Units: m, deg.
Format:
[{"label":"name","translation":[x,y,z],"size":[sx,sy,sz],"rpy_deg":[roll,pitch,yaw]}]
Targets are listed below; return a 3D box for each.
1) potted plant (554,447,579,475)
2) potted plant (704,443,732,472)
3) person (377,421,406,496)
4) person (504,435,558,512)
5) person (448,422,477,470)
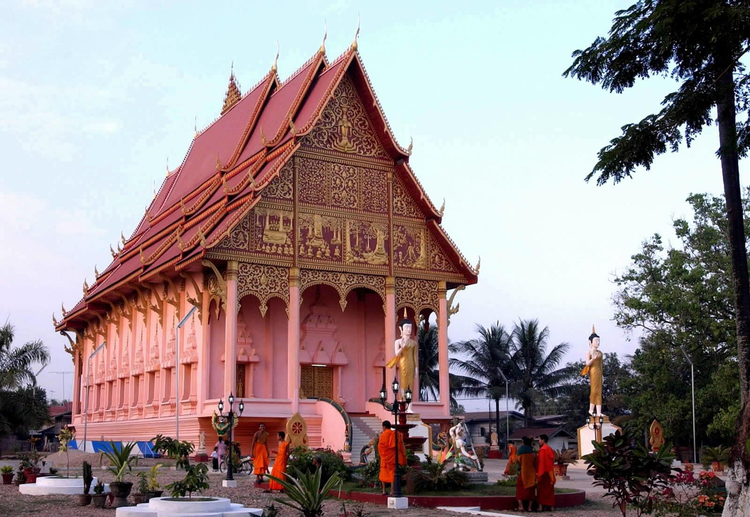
[{"label":"potted plant","translation":[5.782,6.068,29.413],"size":[0.999,0.965,1.059],"rpy_deg":[0,-18,7]},{"label":"potted plant","translation":[10.285,6.019,29.240],"size":[0.752,0.848,2.126],"rpy_deg":[-5,-18,18]},{"label":"person","translation":[0.382,4.652,22.592],"size":[0.588,1.672,1.328],"rpy_deg":[0,-16,0]},{"label":"person","translation":[3.639,4.884,22.135],"size":[0.849,1.720,0.648],"rpy_deg":[0,-16,2]},{"label":"person","translation":[2.619,5.464,28.613],"size":[0.885,1.690,0.668],"rpy_deg":[-4,6,26]}]
